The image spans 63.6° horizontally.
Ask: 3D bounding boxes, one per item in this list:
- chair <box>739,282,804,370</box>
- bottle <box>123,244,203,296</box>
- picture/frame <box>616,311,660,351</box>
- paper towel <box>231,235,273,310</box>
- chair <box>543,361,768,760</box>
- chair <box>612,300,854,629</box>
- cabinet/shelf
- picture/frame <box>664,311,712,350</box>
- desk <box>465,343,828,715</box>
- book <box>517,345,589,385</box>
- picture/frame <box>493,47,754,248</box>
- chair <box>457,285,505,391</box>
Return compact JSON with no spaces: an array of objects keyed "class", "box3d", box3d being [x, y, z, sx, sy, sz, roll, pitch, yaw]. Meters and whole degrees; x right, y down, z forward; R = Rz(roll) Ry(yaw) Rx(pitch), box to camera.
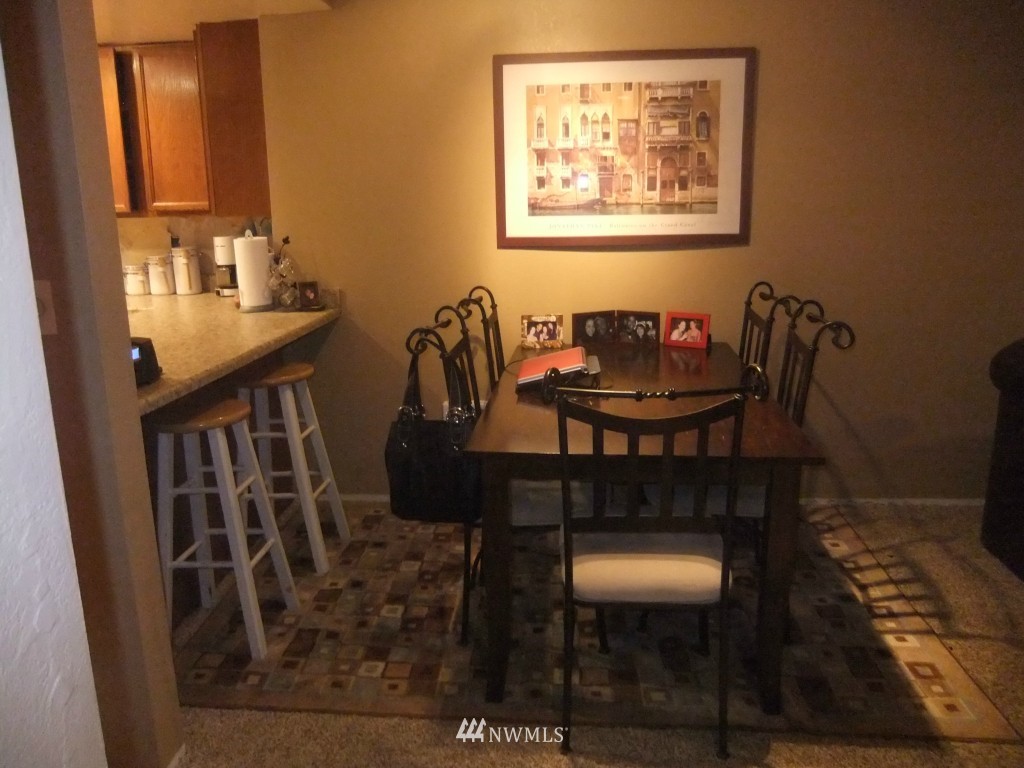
[{"class":"chair","box3d":[1.194,-0.291,3.800,0.161,0.458,0.216,-8,36,-2]},{"class":"bottle","box3d":[-1.984,-0.644,4.641,0.462,0.267,0.209,-1,16,-2]},{"class":"picture/frame","box3d":[0.611,-0.258,3.955,0.187,0.158,0.064,1,6,11]},{"class":"paper towel","box3d":[-1.267,-0.553,4.068,0.176,0.361,0.188,-6,17,-18]},{"class":"chair","box3d":[0.465,0.518,2.829,0.684,1.172,0.860,4,16,16]},{"class":"chair","box3d":[0.826,0.288,3.129,0.797,1.392,0.763,1,29,3]},{"class":"cabinet/shelf","box3d":[-1.659,-1.330,4.172,0.957,0.925,0.247,6,17,23]},{"class":"picture/frame","box3d":[0.829,-0.252,3.896,0.168,0.147,0.060,8,1,24]},{"class":"desk","box3d":[0.486,0.698,3.226,1.120,0.877,1.481,1,23,8]},{"class":"book","box3d":[0.169,-0.083,3.336,0.193,0.046,0.199,-13,16,6]},{"class":"picture/frame","box3d":[0.560,-1.164,3.897,0.933,0.678,0.022,0,14,2]},{"class":"chair","box3d":[-0.144,-0.242,3.892,0.182,0.524,0.188,1,52,4]}]
